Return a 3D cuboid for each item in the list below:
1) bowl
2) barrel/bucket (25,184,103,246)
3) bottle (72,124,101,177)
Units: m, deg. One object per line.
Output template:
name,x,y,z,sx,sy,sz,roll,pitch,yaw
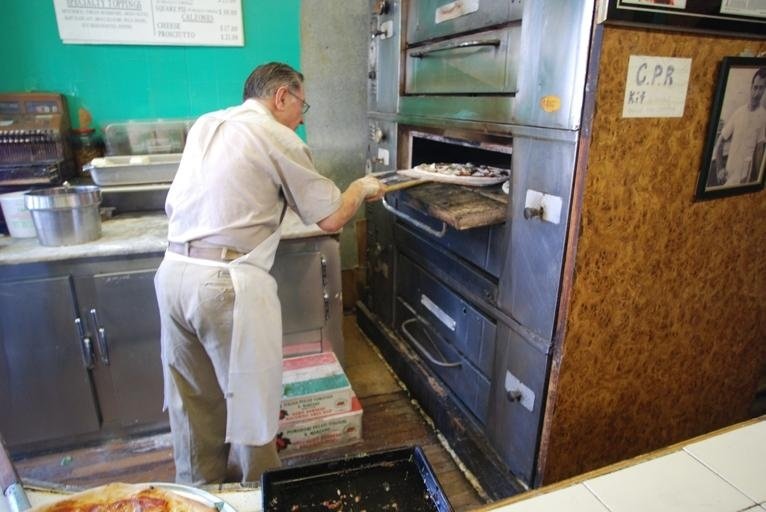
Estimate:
bowl,-1.912,-0.237,3.271,0.392,0.297,0.388,-3,12,1
barrel/bucket,-1.845,-0.228,3.284,0.385,0.297,0.394,0,18,0
bottle,-2.082,-0.747,3.891,0.201,0.310,0.102,-16,22,-34
